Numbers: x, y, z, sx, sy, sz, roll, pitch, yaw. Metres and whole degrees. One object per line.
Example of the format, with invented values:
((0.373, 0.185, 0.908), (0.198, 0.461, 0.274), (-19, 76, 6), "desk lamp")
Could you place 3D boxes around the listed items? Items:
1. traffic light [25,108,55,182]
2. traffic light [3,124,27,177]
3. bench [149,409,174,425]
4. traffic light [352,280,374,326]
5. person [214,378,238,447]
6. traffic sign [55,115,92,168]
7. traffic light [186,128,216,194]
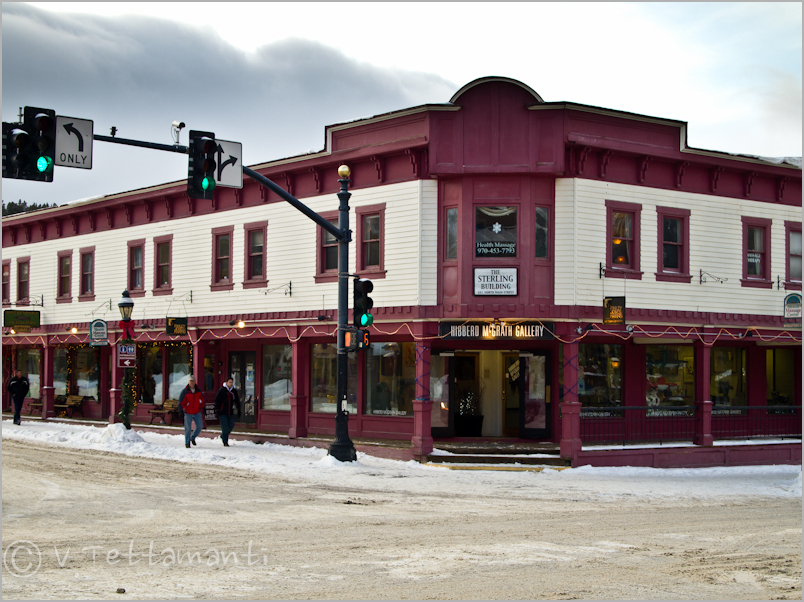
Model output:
((-7.333, -3.174, 24.227), (0.649, 1.493, 0.530), (-3, 6, -36), "traffic light")
((-7.819, -3.018, 23.939), (0.433, 1.115, 0.545), (-1, 5, -19), "traffic light")
((-8.552, 4.132, 42.304), (0.468, 0.806, 1.189), (10, -14, -36), "bench")
((-1.023, 0.072, 31.413), (0.470, 1.318, 0.615), (0, 5, -5), "traffic light")
((-5.272, 3.351, 35.512), (0.588, 1.932, 1.058), (1, 5, 3), "person")
((-6.863, -3.287, 24.842), (0.774, 1.062, 0.582), (-1, 5, -18), "traffic sign")
((-4.374, -3.003, 26.064), (0.599, 1.400, 0.503), (0, 5, -10), "traffic light")
